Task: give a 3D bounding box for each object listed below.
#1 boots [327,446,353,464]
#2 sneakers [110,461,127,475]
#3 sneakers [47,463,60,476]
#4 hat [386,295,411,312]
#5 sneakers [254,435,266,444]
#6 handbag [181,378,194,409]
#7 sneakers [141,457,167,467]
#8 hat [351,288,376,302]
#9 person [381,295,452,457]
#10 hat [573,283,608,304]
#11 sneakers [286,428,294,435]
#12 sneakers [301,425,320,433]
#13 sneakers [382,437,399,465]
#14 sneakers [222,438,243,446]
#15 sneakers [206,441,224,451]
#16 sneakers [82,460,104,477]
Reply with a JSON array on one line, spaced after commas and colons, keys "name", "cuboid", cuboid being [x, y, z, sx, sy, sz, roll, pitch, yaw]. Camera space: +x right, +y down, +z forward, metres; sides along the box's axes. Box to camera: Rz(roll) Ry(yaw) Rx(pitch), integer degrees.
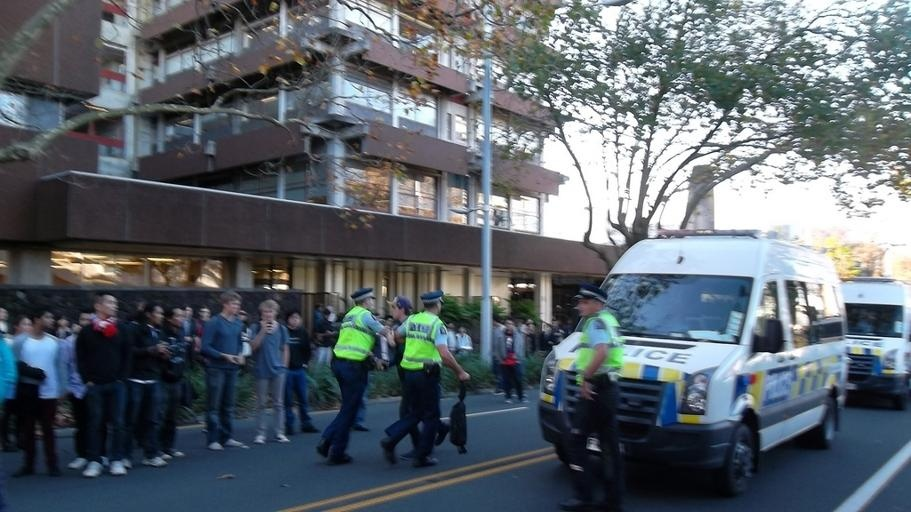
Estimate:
[{"name": "boots", "cuboid": [-2.415, 4.225, 15.499, 0.534, 0.325, 0.199, 2, -4, -29]}, {"name": "sneakers", "cuboid": [-6.870, 4.304, 14.939, 0.313, 0.265, 0.282, 2, -4, -31]}, {"name": "sneakers", "cuboid": [-8.158, 4.349, 14.908, 0.242, 0.150, 0.222, 0, -1, 0]}, {"name": "hat", "cuboid": [-1.234, 1.067, 16.185, 0.512, 0.230, 0.340, 22, 4, -3]}, {"name": "sneakers", "cuboid": [-4.499, 4.201, 16.822, 0.239, 0.181, 0.247, 1, -4, -15]}, {"name": "handbag", "cuboid": [-6.024, 3.110, 16.473, 0.212, 0.672, 0.970, 1, -4, -16]}, {"name": "sneakers", "cuboid": [-6.322, 4.309, 15.394, 0.407, 0.123, 0.221, -1, -6, 17]}, {"name": "hat", "cuboid": [-1.994, 0.836, 15.954, 0.368, 0.147, 0.423, -1, 0, 29]}, {"name": "person", "cuboid": [-0.712, 2.573, 15.489, 1.624, 3.657, 1.094, -1, -4, 0]}, {"name": "hat", "cuboid": [2.647, 0.718, 13.910, 0.624, 0.214, 0.414, 5, -6, -11]}, {"name": "sneakers", "cuboid": [-3.966, 4.217, 17.592, 0.199, 0.128, 0.192, 1, -4, -16]}, {"name": "sneakers", "cuboid": [-3.555, 4.223, 17.884, 0.493, 0.168, 0.151, 1, -1, -3]}, {"name": "sneakers", "cuboid": [-1.370, 4.077, 15.201, 0.260, 0.586, 0.281, -5, -1, 16]}, {"name": "sneakers", "cuboid": [-5.044, 4.235, 16.615, 0.483, 0.153, 0.147, 1, -6, -4]}, {"name": "sneakers", "cuboid": [-5.360, 4.238, 16.354, 0.288, 0.106, 0.176, 1, -2, -19]}, {"name": "sneakers", "cuboid": [-7.343, 4.291, 14.810, 0.325, 0.300, 0.216, 1, -4, -25]}]
